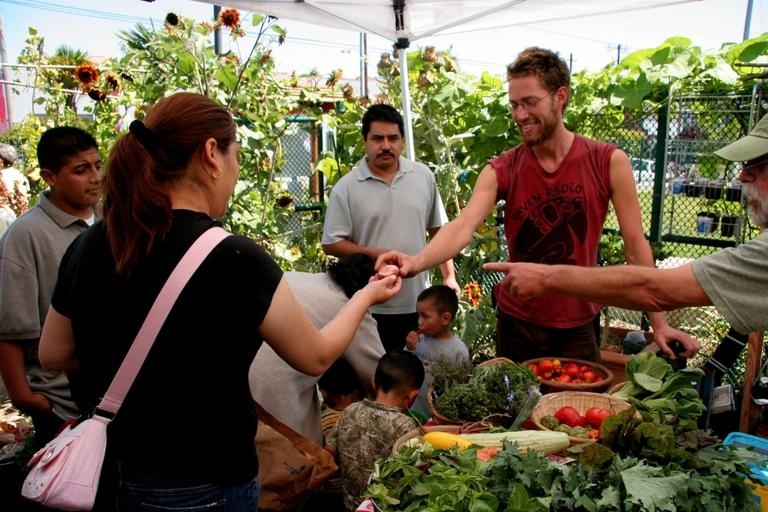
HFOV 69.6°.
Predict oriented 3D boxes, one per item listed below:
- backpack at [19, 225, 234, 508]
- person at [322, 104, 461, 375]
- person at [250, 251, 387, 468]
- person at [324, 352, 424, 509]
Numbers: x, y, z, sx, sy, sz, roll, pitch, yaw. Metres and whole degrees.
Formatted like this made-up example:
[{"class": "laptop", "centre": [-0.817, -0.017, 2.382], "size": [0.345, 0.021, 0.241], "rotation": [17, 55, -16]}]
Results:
[{"class": "backpack", "centre": [-1.000, 0.428, 2.119], "size": [0.711, 1.110, 0.198], "rotation": [4, 6, 2]}, {"class": "person", "centre": [0.054, 0.277, 4.926], "size": [1.291, 2.970, 1.052], "rotation": [-4, 17, -18]}, {"class": "person", "centre": [-0.434, 0.671, 3.777], "size": [0.828, 1.296, 0.709], "rotation": [-4, -13, 30]}, {"class": "person", "centre": [0.042, 1.043, 3.548], "size": [0.613, 0.877, 0.621], "rotation": [4, -9, -33]}]
